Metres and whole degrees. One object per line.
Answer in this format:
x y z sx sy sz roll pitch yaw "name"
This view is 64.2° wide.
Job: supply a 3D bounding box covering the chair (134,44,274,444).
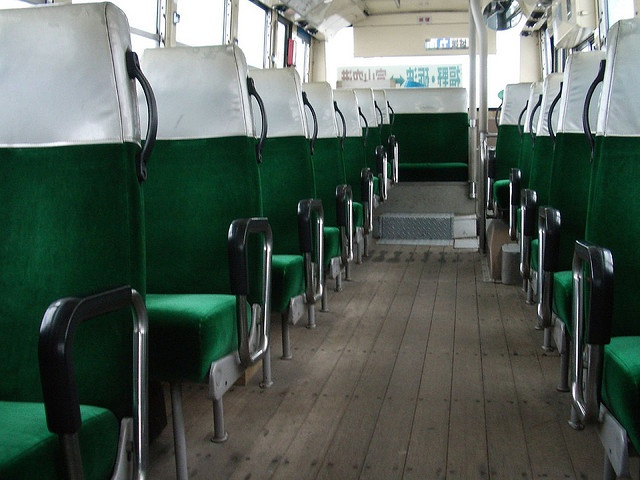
-0.420 0.051 1.979 0.527 1.608 0.660 -4 9 -16 "chair"
